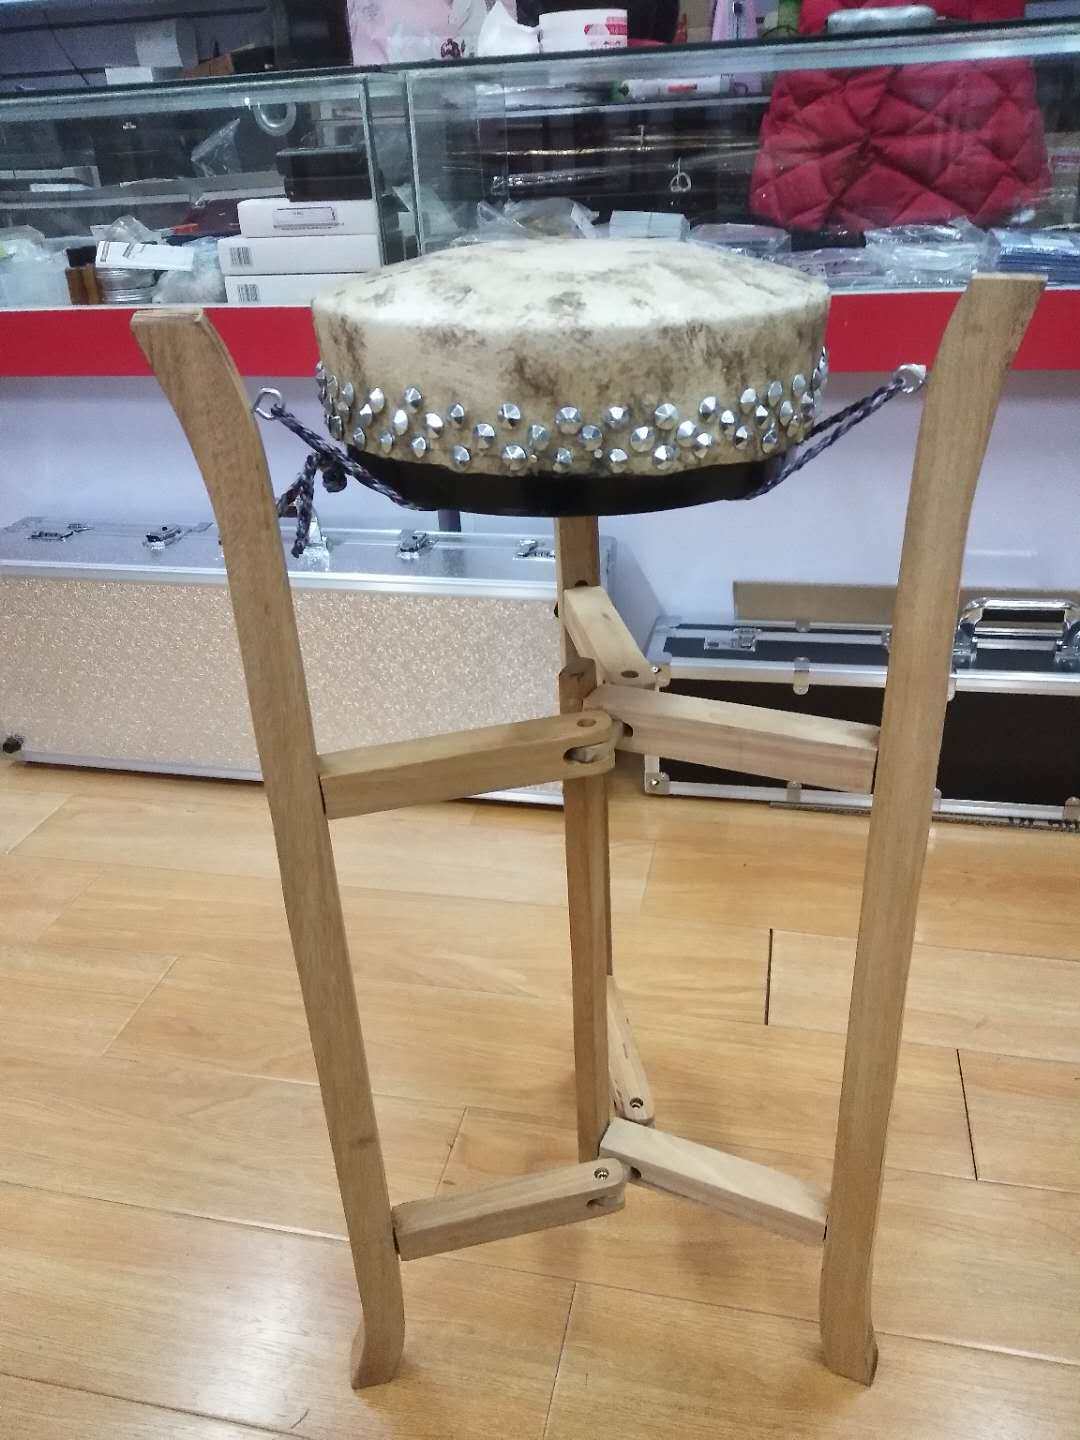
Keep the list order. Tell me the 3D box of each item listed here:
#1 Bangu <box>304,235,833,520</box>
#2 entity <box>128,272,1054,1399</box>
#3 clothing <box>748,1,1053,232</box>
[{"bbox_3d":[0.020,-0.242,0.805,0.331,0.143,0.315,-12,29,-20],"label":"Bangu"},{"bbox_3d":[0.078,0.153,0.895,0.422,0.942,0.408,12,35,26],"label":"entity"},{"bbox_3d":[0.439,-0.720,1.429,0.320,0.274,0.158,2,51,10],"label":"clothing"}]
